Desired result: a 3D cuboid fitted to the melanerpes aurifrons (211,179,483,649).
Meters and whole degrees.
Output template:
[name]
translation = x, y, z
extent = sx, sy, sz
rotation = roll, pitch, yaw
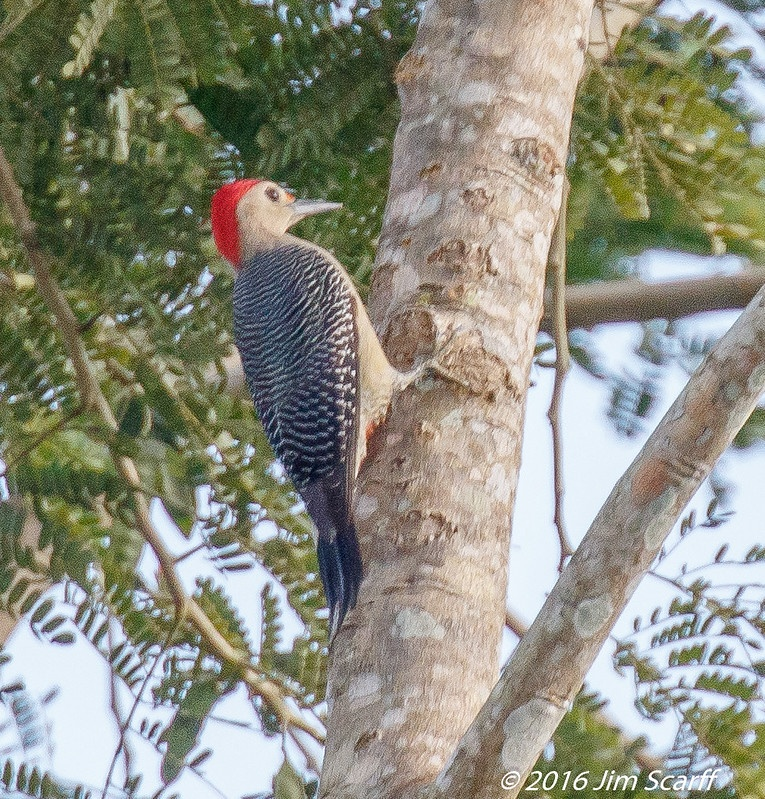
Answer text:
[melanerpes aurifrons]
translation = -0.277, -0.034, 6.009
extent = 0.934, 1.523, 0.495
rotation = 14, -45, 12
